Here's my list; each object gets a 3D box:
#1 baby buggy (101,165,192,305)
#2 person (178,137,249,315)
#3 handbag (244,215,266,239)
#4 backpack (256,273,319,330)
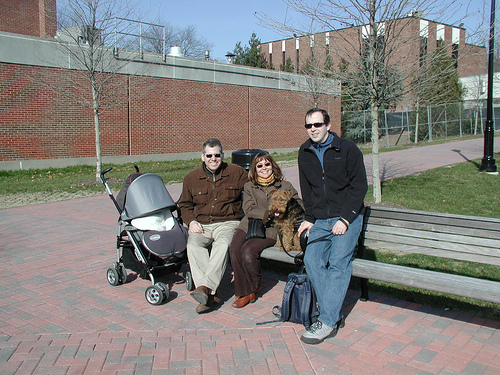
[{"bbox_3d":[-1.334,0.557,5.454,1.264,1.613,0.864,8,13,39],"label":"baby buggy"},{"bbox_3d":[-0.579,0.340,5.406,0.957,1.584,2.413,2,20,3],"label":"person"},{"bbox_3d":[0.078,0.521,5.289,0.321,0.117,0.367,-6,45,9],"label":"handbag"},{"bbox_3d":[0.477,1.264,4.533,0.665,0.531,0.484,1,1,20],"label":"backpack"}]
